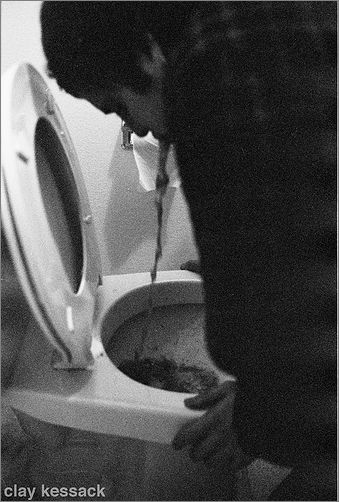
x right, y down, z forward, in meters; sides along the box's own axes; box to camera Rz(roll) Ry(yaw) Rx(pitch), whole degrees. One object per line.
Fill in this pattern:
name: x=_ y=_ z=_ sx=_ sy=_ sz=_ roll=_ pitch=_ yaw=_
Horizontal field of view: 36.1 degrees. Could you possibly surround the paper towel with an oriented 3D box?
paper towel: x=-0.012 y=-0.102 z=0.583 sx=0.063 sy=0.058 sz=0.051 roll=1 pitch=33 yaw=1
